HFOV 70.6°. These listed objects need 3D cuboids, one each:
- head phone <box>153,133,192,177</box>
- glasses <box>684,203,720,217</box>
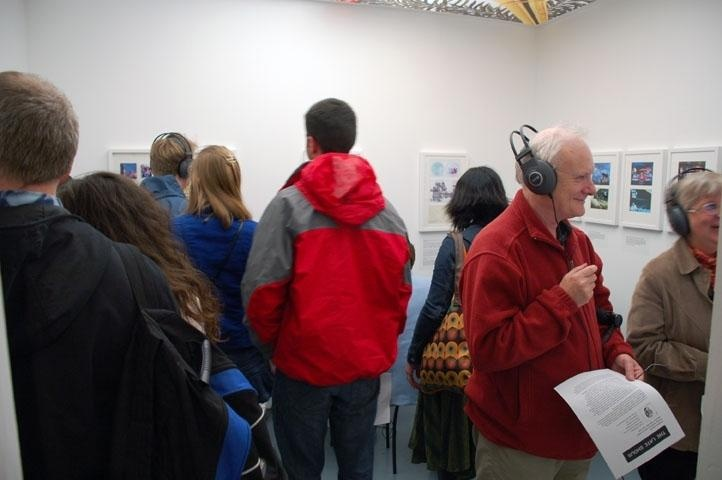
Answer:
[{"bbox_3d":[-1.122,-0.489,2.983,0.270,0.266,0.112,-1,-7,7],"label":"head phone"},{"bbox_3d":[1.653,-0.146,2.416,0.128,0.065,0.074,2,10,6],"label":"glasses"}]
